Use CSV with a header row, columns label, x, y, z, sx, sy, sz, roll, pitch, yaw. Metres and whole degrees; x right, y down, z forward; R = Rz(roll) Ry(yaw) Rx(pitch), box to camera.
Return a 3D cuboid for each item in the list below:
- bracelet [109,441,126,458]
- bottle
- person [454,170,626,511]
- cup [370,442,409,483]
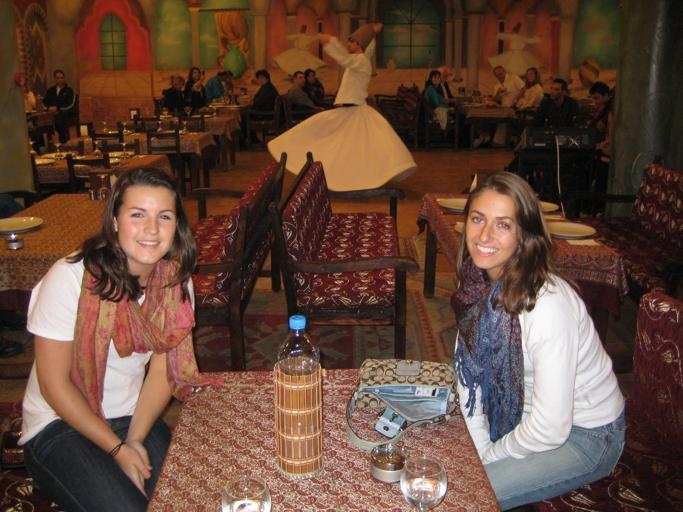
label,x,y,z,sx,sy,sz,roll,pitch,yaw
bracelet,-0.816,0.701,2.065,0.051,0.013,0.051,-7,51,40
bottle,-0.133,0.381,1.657,0.146,0.478,0.205,-2,17,-5
person,0.740,0.312,2.032,0.647,1.141,0.454,3,18,12
cup,0.136,0.593,1.665,0.091,0.094,0.094,1,26,-1
